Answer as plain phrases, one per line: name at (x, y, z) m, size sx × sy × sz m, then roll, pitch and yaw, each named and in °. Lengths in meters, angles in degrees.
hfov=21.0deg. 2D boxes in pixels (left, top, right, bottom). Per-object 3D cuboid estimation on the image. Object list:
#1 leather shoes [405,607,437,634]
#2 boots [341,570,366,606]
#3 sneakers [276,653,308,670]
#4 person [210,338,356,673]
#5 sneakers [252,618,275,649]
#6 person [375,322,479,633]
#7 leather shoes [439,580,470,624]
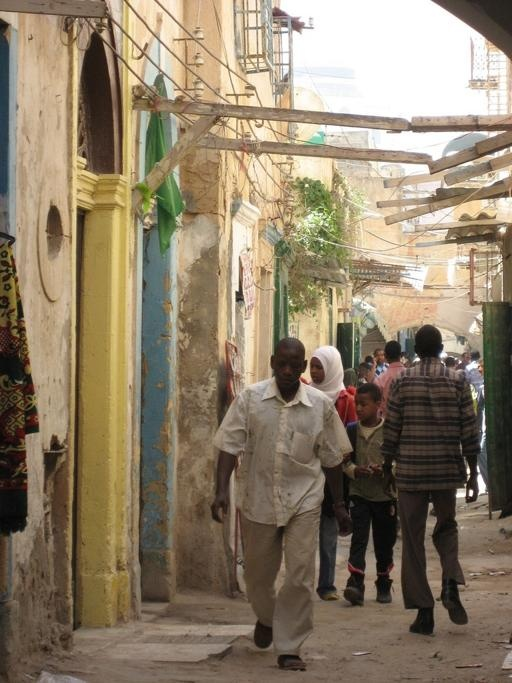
leather shoes at (0.931, 1.550, 7.751) m, size 0.140 × 0.139 × 0.205 m, roll -2°, pitch -2°, yaw 5°
boots at (0.631, 1.579, 8.843) m, size 0.081 × 0.128 × 0.268 m, roll 6°, pitch -26°, yaw 15°
sneakers at (0.191, 1.579, 6.867) m, size 0.059 × 0.070 × 0.137 m, roll 3°, pitch -10°, yaw -31°
person at (0.141, 0.800, 7.129) m, size 0.693 × 1.666 × 0.714 m, roll -1°, pitch -1°, yaw 1°
sneakers at (0.044, 1.551, 7.373) m, size 0.070 × 0.192 × 0.075 m, roll 0°, pitch 14°, yaw -1°
person at (1.001, 0.752, 7.873) m, size 0.605 × 1.736 × 0.502 m, roll -2°, pitch -1°, yaw 25°
leather shoes at (1.108, 1.487, 7.669) m, size 0.096 × 0.305 × 0.211 m, roll -17°, pitch 36°, yaw 11°
